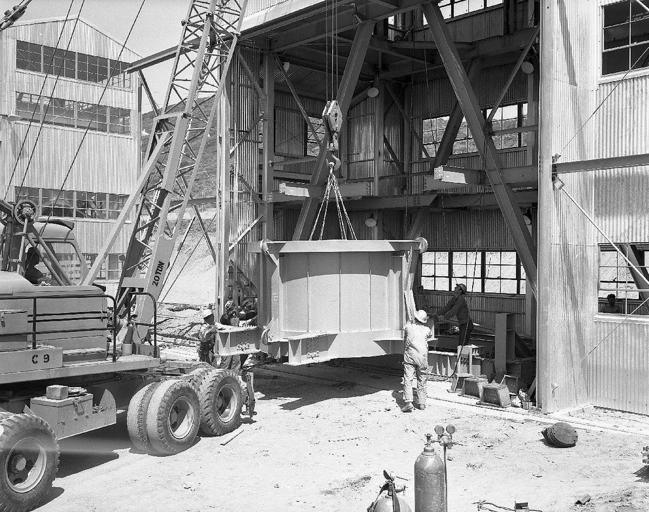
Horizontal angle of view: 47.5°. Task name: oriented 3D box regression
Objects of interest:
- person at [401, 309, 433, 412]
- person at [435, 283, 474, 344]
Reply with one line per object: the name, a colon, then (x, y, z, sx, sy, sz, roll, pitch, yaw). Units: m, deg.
person: (2.512, 2.809, 20.223, 0.778, 2.598, 1.343, 1, 5, 13)
person: (4.352, 2.147, 24.702, 1.134, 2.684, 0.743, -4, 25, 3)
